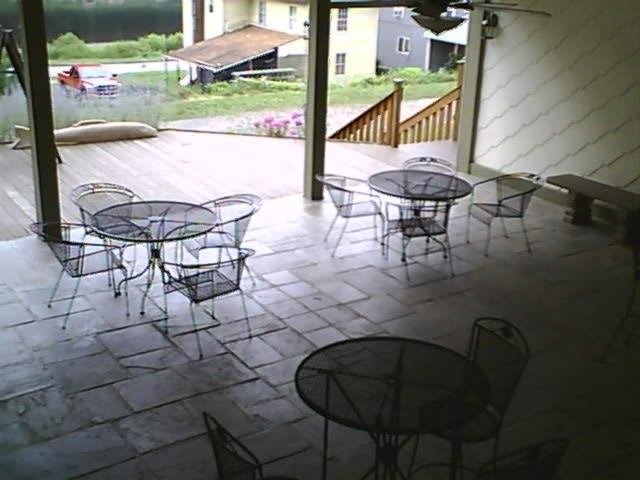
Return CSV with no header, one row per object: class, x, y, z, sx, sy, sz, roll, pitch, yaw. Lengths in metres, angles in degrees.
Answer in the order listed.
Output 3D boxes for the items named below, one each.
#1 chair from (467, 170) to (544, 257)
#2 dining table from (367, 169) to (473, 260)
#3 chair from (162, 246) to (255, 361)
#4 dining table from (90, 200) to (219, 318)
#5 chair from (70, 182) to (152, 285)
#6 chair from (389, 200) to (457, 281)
chair,2.533,-0.309,7.485,0.999,1.118,0.903,-6,30,-12
dining table,1.264,-0.150,6.993,1.320,0.907,1.205,-6,34,-10
chair,-1.065,0.651,5.371,0.693,0.802,0.617,-17,52,-28
dining table,-1.725,0.203,6.065,1.326,0.857,1.215,8,31,0
chair,-2.357,-0.040,6.225,0.929,1.113,0.845,4,46,-1
chair,1.242,0.043,6.711,0.793,0.867,0.658,-6,40,-4
